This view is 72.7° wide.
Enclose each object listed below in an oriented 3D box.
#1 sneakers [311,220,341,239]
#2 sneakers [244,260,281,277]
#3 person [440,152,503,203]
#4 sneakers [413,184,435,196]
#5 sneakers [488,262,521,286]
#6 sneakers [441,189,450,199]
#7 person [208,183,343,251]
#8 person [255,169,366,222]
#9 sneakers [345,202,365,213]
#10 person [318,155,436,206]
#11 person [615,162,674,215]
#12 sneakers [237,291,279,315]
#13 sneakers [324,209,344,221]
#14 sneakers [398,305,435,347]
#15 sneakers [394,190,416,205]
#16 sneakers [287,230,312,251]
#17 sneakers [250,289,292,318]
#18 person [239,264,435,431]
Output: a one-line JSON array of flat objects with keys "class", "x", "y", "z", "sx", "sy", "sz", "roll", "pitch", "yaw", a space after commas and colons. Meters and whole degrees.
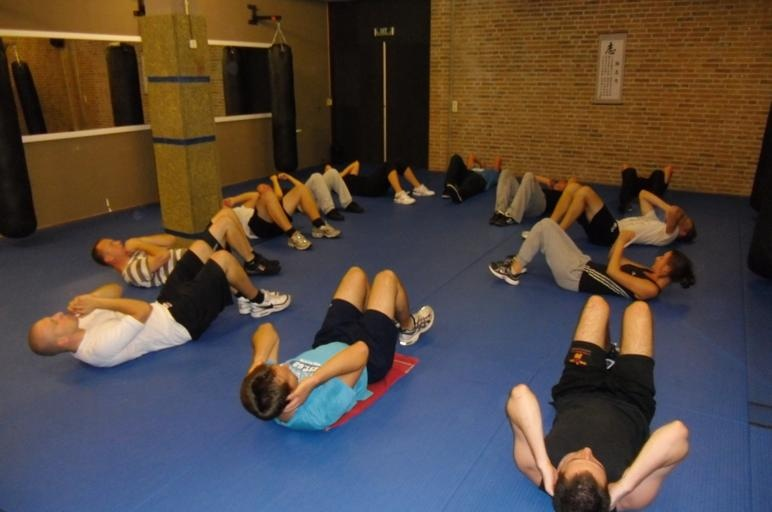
[{"class": "sneakers", "x": -0.772, "y": -0.347, "z": 6.638, "sx": 0.348, "sy": 0.173, "sz": 0.189, "roll": 4, "pitch": 19, "yaw": 14}, {"class": "sneakers", "x": -1.335, "y": 0.129, "z": 5.606, "sx": 0.319, "sy": 0.125, "sz": 0.177, "roll": -3, "pitch": 19, "yaw": -8}, {"class": "person", "x": 1.457, "y": -1.381, "z": 8.743, "sx": 0.609, "sy": 0.681, "sz": 1.937, "roll": 7, "pitch": 24, "yaw": 35}, {"class": "sneakers", "x": 0.605, "y": -1.084, "z": 8.530, "sx": 0.328, "sy": 0.166, "sz": 0.177, "roll": 4, "pitch": 18, "yaw": 13}, {"class": "sneakers", "x": 1.235, "y": 0.168, "z": 5.449, "sx": 0.261, "sy": 0.101, "sz": 0.276, "roll": 24, "pitch": 9, "yaw": 2}, {"class": "sneakers", "x": 0.921, "y": -0.963, "z": 8.155, "sx": 0.145, "sy": 0.149, "sz": 0.090, "roll": 5, "pitch": 13, "yaw": 18}, {"class": "person", "x": -1.352, "y": -0.551, "z": 6.599, "sx": 1.694, "sy": 0.713, "sz": 1.001, "roll": 10, "pitch": 21, "yaw": 37}, {"class": "person", "x": -1.087, "y": -0.960, "z": 7.686, "sx": 1.497, "sy": 0.950, "sz": 0.763, "roll": -1, "pitch": 17, "yaw": 44}, {"class": "sneakers", "x": -0.467, "y": -0.718, "z": 7.663, "sx": 0.263, "sy": 0.121, "sz": 0.134, "roll": 4, "pitch": 17, "yaw": 25}, {"class": "person", "x": -0.160, "y": -1.187, "z": 8.533, "sx": 1.796, "sy": 0.675, "sz": 0.888, "roll": 2, "pitch": 11, "yaw": 21}, {"class": "person", "x": 3.989, "y": -1.100, "z": 8.190, "sx": 0.871, "sy": 0.421, "sz": 1.434, "roll": 8, "pitch": -7, "yaw": 20}, {"class": "sneakers", "x": -1.167, "y": 0.410, "z": 4.949, "sx": 0.308, "sy": 0.144, "sz": 0.242, "roll": -7, "pitch": 12, "yaw": -26}, {"class": "sneakers", "x": -0.717, "y": -0.570, "z": 7.232, "sx": 0.285, "sy": 0.125, "sz": 0.126, "roll": 6, "pitch": 16, "yaw": 29}, {"class": "sneakers", "x": 0.269, "y": 0.629, "z": 4.484, "sx": 0.171, "sy": 0.206, "sz": 0.440, "roll": 23, "pitch": 52, "yaw": 29}, {"class": "sneakers", "x": 0.259, "y": -0.903, "z": 8.079, "sx": 0.369, "sy": 0.189, "sz": 0.162, "roll": 8, "pitch": 23, "yaw": 21}, {"class": "sneakers", "x": -1.053, "y": -0.183, "z": 6.334, "sx": 0.346, "sy": 0.172, "sz": 0.161, "roll": 16, "pitch": 49, "yaw": 34}, {"class": "sneakers", "x": -1.088, "y": 0.417, "z": 5.005, "sx": 0.434, "sy": 0.217, "sz": 0.164, "roll": -13, "pitch": 26, "yaw": -26}, {"class": "person", "x": -0.293, "y": 0.669, "z": 3.721, "sx": 0.765, "sy": 0.640, "sz": 1.484, "roll": 22, "pitch": 45, "yaw": 30}]
